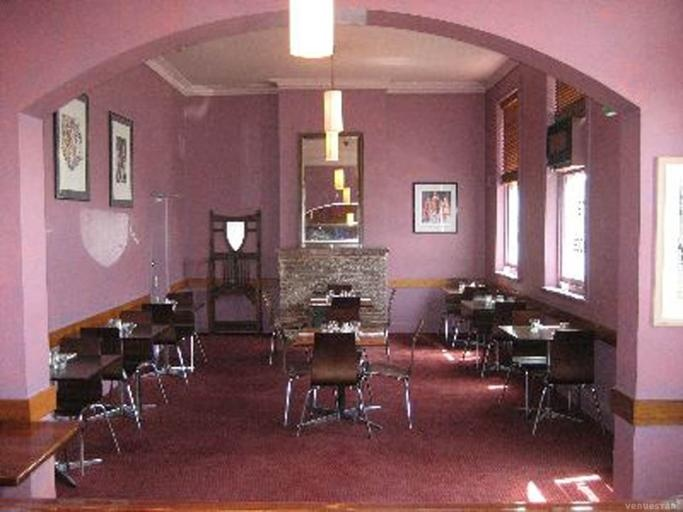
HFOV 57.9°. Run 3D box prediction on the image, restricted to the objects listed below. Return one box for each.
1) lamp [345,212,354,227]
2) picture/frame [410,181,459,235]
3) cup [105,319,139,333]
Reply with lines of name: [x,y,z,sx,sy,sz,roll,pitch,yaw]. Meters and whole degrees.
lamp: [0.161,-0.655,11.282,0.190,0.375,0.197,0,-3,1]
picture/frame: [1.700,-0.927,11.488,0.918,1.059,0.051,0,0,-7]
cup: [-2.781,0.889,7.825,0.282,0.102,0.218,3,6,-2]
